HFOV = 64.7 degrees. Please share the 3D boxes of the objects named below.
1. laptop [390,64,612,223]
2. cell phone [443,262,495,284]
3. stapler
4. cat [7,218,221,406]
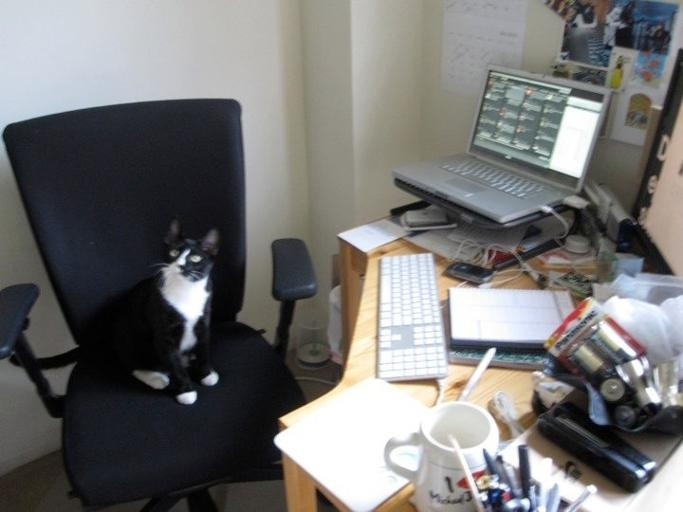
[{"bbox_3d":[0.429,-0.321,1.501,0.356,0.301,0.436,-25,38,-35],"label":"laptop"},{"bbox_3d":[0.327,0.039,1.366,0.096,0.021,0.056,11,36,19],"label":"cell phone"},{"bbox_3d":[0.406,0.303,0.870,0.066,0.043,0.168,-27,39,-37],"label":"stapler"},{"bbox_3d":[-0.504,0.120,1.484,0.452,0.563,0.262,9,11,20],"label":"cat"}]
